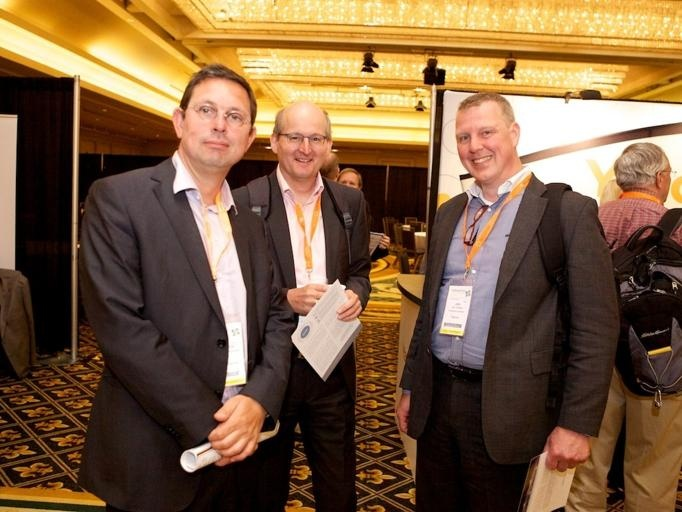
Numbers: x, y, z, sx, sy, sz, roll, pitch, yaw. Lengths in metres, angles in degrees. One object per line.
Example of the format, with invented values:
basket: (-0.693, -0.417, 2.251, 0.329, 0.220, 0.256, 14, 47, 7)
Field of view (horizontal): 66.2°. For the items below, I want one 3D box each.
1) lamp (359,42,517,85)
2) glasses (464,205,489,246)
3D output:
lamp: (1.574, -3.114, 8.752, 2.460, 0.486, 1.013, 1, 8, 1)
glasses: (0.573, -0.130, 2.283, 0.047, 0.163, 0.152, 9, 30, -4)
